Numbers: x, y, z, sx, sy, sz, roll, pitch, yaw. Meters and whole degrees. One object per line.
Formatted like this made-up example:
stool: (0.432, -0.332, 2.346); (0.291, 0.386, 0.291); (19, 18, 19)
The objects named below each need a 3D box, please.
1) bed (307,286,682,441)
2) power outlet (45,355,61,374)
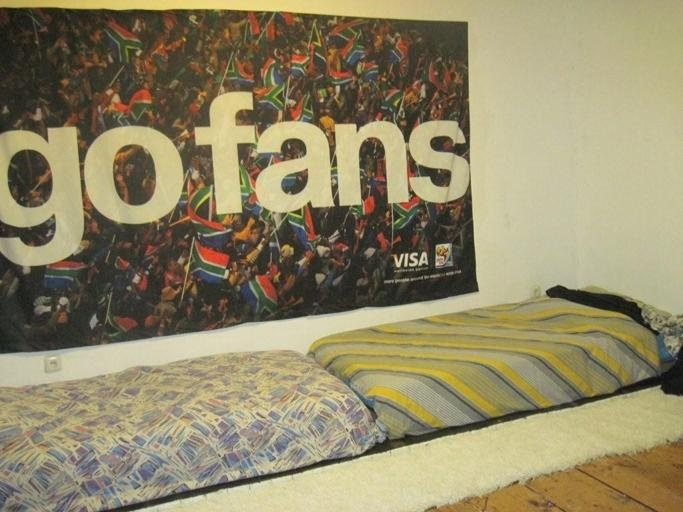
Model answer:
bed: (0.942, 0.624, 3.149); (1.467, 0.393, 0.975); (-12, 13, -17)
power outlet: (-1.936, 0.726, 3.459); (0.097, 0.141, 0.066); (-5, 14, -38)
